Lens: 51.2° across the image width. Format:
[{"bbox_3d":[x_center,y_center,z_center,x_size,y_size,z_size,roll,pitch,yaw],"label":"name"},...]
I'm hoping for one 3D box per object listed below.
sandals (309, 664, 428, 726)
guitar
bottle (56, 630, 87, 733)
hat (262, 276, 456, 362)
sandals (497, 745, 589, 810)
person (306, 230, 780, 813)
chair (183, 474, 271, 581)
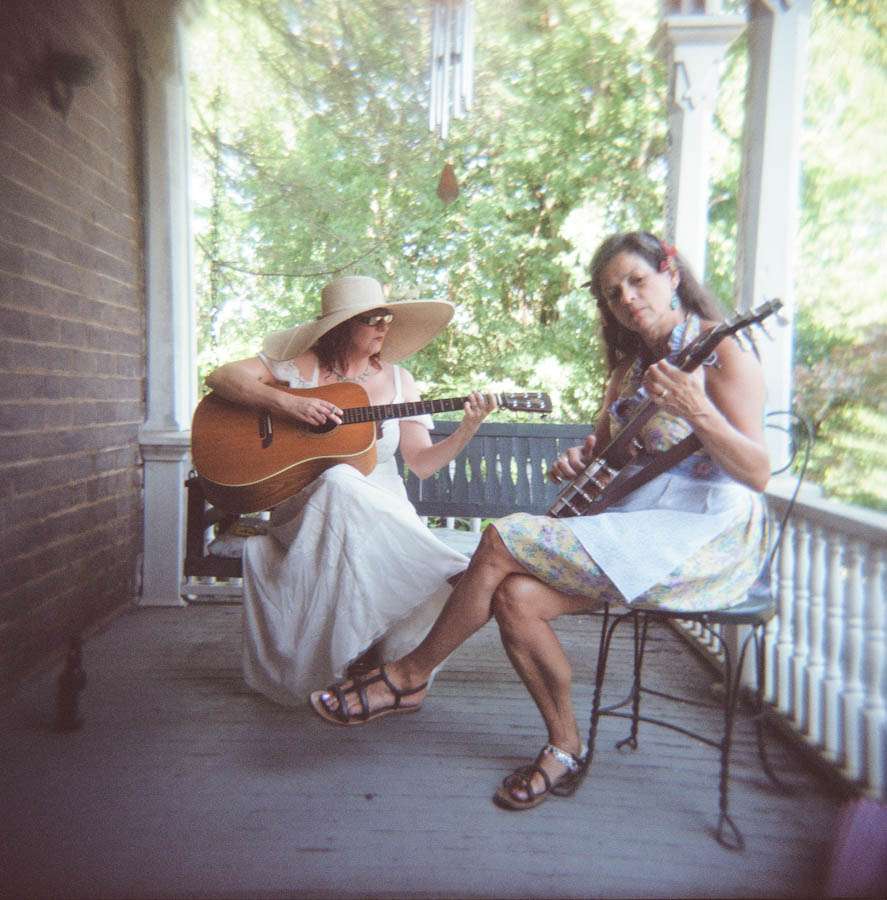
[{"bbox_3d":[-0.222,0.702,2.669,0.312,0.128,0.162,2,46,-19],"label":"sandals"},{"bbox_3d":[-0.242,-0.029,3.053,1.120,0.161,0.479,-6,52,-9],"label":"guitar"},{"bbox_3d":[-1.098,0.647,2.705,0.089,0.239,0.331,-2,9,-22],"label":"bottle"},{"bbox_3d":[-0.250,-0.453,3.199,0.437,0.168,0.420,-6,-22,-28],"label":"hat"},{"bbox_3d":[0.242,0.810,2.274,0.240,0.100,0.104,-7,15,-37],"label":"sandals"},{"bbox_3d":[0.339,0.138,2.425,0.970,1.414,0.588,1,9,-3],"label":"person"},{"bbox_3d":[-0.852,0.206,3.649,0.322,0.289,0.652,1,3,-8],"label":"chair"}]
